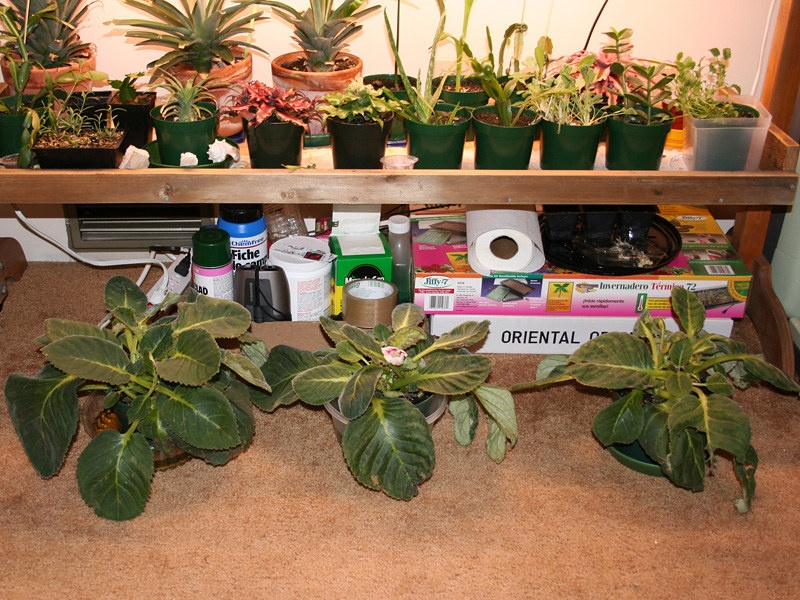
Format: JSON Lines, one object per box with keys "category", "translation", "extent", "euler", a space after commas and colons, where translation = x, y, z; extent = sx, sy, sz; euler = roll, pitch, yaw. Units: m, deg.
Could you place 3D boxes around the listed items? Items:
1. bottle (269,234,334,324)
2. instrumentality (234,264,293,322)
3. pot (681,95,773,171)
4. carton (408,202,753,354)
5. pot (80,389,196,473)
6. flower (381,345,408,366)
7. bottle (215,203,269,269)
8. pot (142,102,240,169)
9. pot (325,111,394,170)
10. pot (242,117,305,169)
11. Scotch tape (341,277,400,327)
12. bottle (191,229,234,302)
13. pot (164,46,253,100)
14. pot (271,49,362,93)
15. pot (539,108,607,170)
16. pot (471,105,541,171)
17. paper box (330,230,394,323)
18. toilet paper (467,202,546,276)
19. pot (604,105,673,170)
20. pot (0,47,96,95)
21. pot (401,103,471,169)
{"category": "bottle", "translation": [-0.251, -0.068, 1.804], "extent": [0.269, 0.254, 0.237], "euler": [3, 37, -2]}
{"category": "instrumentality", "translation": [-0.402, -0.018, 1.646], "extent": [0.184, 0.156, 0.057], "euler": [0, 11, 0]}
{"category": "pot", "translation": [0.815, -0.421, 1.520], "extent": [0.213, 0.176, 0.189], "euler": [-1, 35, 2]}
{"category": "carton", "translation": [0.539, -0.073, 1.854], "extent": [1.012, 0.441, 0.340], "euler": [1, 27, 0]}
{"category": "pot", "translation": [-0.674, 0.338, 1.416], "extent": [0.254, 0.210, 0.121], "euler": [7, 28, 13]}
{"category": "flower", "translation": [-0.012, 0.126, 1.323], "extent": [0.053, 0.020, 0.041], "euler": [5, 42, -21]}
{"category": "bottle", "translation": [-0.467, -0.180, 1.782], "extent": [0.154, 0.203, 0.148], "euler": [-2, 23, 1]}
{"category": "pot", "translation": [-0.533, -0.411, 1.440], "extent": [0.199, 0.095, 0.191], "euler": [0, 22, 0]}
{"category": "pot", "translation": [-0.104, -0.394, 1.427], "extent": [0.164, 0.104, 0.148], "euler": [3, 19, 6]}
{"category": "pot", "translation": [-0.314, -0.394, 1.433], "extent": [0.140, 0.093, 0.130], "euler": [1, 22, 0]}
{"category": "Scotch tape", "translation": [-0.092, 0.011, 1.670], "extent": [0.163, 0.123, 0.123], "euler": [-1, 27, -2]}
{"category": "bottle", "translation": [-0.552, -0.098, 1.678], "extent": [0.120, 0.211, 0.139], "euler": [-1, 28, -2]}
{"category": "pot", "translation": [-0.514, -0.623, 1.580], "extent": [0.208, 0.119, 0.186], "euler": [-2, 25, 0]}
{"category": "pot", "translation": [-0.233, -0.648, 1.659], "extent": [0.242, 0.127, 0.222], "euler": [1, 26, 0]}
{"category": "pot", "translation": [0.419, -0.394, 1.408], "extent": [0.146, 0.100, 0.145], "euler": [0, 28, 0]}
{"category": "pot", "translation": [0.268, -0.418, 1.457], "extent": [0.174, 0.115, 0.173], "euler": [1, 26, 0]}
{"category": "paper box", "translation": [-0.143, -0.075, 1.871], "extent": [0.228, 0.302, 0.202], "euler": [3, 35, -4]}
{"category": "toilet paper", "translation": [0.322, -0.181, 1.754], "extent": [0.232, 0.166, 0.186], "euler": [1, 26, 2]}
{"category": "pot", "translation": [0.586, -0.429, 1.498], "extent": [0.181, 0.127, 0.179], "euler": [0, 26, 0]}
{"category": "pot", "translation": [-0.957, -0.616, 1.554], "extent": [0.215, 0.124, 0.193], "euler": [3, 25, -2]}
{"category": "pot", "translation": [0.097, -0.399, 1.432], "extent": [0.178, 0.122, 0.175], "euler": [1, 30, 0]}
